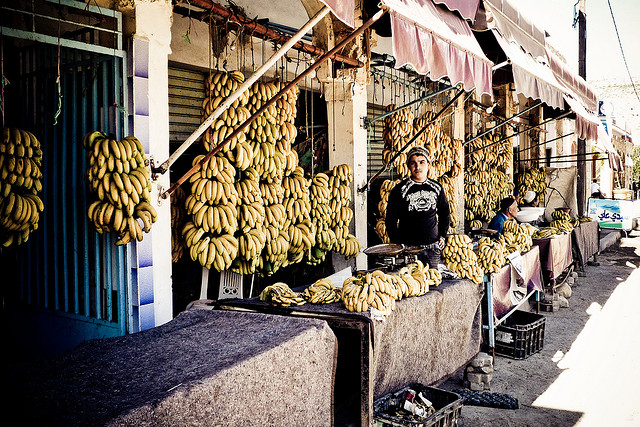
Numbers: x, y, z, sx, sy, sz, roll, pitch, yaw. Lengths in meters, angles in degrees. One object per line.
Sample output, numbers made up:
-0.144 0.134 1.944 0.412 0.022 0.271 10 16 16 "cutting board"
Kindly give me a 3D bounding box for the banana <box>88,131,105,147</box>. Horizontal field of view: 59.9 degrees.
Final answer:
-2.050 -0.679 5.113 0.141 0.138 0.040 -3 5 -31 "banana"

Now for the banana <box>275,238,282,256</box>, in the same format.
-0.451 0.372 6.194 0.070 0.141 0.033 2 -2 -35 "banana"

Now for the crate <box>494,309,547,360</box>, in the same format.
2.673 1.628 7.535 0.574 0.477 0.892 1 2 42 "crate"

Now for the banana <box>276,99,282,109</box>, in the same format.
-0.454 -1.242 6.287 0.072 0.093 0.033 -2 5 -20 "banana"

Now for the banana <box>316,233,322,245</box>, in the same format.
0.001 0.319 6.794 0.047 0.115 0.034 1 6 -6 "banana"

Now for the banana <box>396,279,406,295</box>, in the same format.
0.823 0.723 5.531 0.028 0.124 0.092 -15 12 39 "banana"

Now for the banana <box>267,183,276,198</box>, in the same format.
-0.538 -0.254 6.315 0.090 0.146 0.060 0 4 1 "banana"

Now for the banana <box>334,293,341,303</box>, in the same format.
0.178 0.824 5.386 0.022 0.049 0.092 -47 7 38 "banana"

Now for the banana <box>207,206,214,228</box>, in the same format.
-1.121 0.045 5.733 0.049 0.206 0.064 -4 -18 -7 "banana"

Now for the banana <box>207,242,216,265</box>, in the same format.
-1.107 0.409 5.726 0.058 0.235 0.071 4 -13 5 "banana"

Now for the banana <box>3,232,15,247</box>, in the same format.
-3.017 0.248 5.401 0.099 0.134 0.151 -3 6 -31 "banana"

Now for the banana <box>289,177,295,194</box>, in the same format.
-0.318 -0.323 6.476 0.047 0.189 0.047 -4 -9 -5 "banana"

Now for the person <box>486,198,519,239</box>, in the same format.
2.933 0.086 8.903 0.257 0.961 0.382 0 15 -7 "person"

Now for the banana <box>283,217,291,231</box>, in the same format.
-0.375 0.127 6.439 0.044 0.144 0.127 1 5 18 "banana"

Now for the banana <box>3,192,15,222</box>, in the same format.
-2.891 -0.080 5.185 0.054 0.375 0.090 10 5 -8 "banana"

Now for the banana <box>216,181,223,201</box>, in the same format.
-1.042 -0.232 5.805 0.067 0.201 0.041 -1 4 -14 "banana"

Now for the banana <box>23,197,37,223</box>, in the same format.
-2.740 -0.041 5.312 0.054 0.208 0.149 4 7 -36 "banana"

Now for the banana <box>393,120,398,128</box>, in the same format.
1.103 -1.300 8.055 0.044 0.089 0.025 21 -1 30 "banana"

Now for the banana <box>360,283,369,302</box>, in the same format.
0.421 0.736 5.168 0.042 0.188 0.054 15 -31 12 "banana"

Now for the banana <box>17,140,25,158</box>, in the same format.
-2.794 -0.598 5.212 0.046 0.164 0.056 -9 -9 43 "banana"

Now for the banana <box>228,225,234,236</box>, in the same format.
-0.925 0.178 5.847 0.036 0.116 0.074 3 6 36 "banana"

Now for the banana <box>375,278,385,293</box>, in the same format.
0.583 0.686 5.292 0.067 0.120 0.109 -2 5 -27 "banana"

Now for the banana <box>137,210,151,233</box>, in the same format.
-1.639 0.071 5.197 0.110 0.206 0.062 -3 5 -32 "banana"

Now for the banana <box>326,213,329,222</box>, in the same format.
0.100 0.048 6.788 0.034 0.062 0.012 2 1 -43 "banana"

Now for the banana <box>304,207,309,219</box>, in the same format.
-0.154 -0.003 6.587 0.041 0.139 0.096 2 5 19 "banana"

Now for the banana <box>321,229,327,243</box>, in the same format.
0.060 0.285 6.830 0.078 0.157 0.040 -1 4 -14 "banana"

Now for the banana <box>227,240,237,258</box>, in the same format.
-0.910 0.378 5.814 0.028 0.158 0.040 -27 -13 31 "banana"

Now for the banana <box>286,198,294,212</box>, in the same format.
-0.340 -0.104 6.505 0.092 0.145 0.049 -3 6 -37 "banana"

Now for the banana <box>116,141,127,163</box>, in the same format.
-1.803 -0.556 5.082 0.056 0.243 0.072 -9 -4 -24 "banana"

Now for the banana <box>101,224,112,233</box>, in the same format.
-2.012 0.141 5.242 0.082 0.076 0.136 -2 6 -23 "banana"

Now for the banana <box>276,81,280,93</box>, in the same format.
-0.469 -1.449 6.300 0.044 0.094 0.035 -1 5 -18 "banana"

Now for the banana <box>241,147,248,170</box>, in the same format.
-0.801 -0.572 5.974 0.042 0.183 0.091 7 3 37 "banana"

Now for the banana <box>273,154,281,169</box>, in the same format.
-0.477 -0.587 6.304 0.038 0.164 0.041 -18 -11 0 "banana"

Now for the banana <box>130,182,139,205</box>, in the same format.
-1.677 -0.177 5.092 0.047 0.178 0.043 -6 9 43 "banana"

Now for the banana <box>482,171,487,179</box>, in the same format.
3.210 -0.737 10.726 0.024 0.147 0.152 3 6 35 "banana"

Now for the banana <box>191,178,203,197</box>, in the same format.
-1.268 -0.281 5.765 0.067 0.222 0.053 18 4 -43 "banana"

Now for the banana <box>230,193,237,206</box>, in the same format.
-0.908 -0.148 5.882 0.030 0.103 0.052 -5 29 40 "banana"

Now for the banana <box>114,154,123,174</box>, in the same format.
-1.819 -0.442 5.072 0.044 0.184 0.055 -16 3 -14 "banana"

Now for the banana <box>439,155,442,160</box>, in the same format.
1.986 -0.917 9.099 0.030 0.072 0.082 3 6 33 "banana"

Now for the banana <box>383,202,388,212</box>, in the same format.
0.971 -0.108 8.179 0.027 0.114 0.032 25 -15 -13 "banana"

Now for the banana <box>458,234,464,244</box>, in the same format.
1.682 0.300 6.574 0.057 0.061 0.210 -10 15 8 "banana"

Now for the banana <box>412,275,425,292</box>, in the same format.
1.048 0.709 5.743 0.099 0.042 0.201 -33 36 13 "banana"

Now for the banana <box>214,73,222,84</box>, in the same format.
-1.083 -1.440 5.956 0.081 0.106 0.026 -1 5 -15 "banana"

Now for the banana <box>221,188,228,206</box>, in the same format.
-0.992 -0.171 5.823 0.038 0.168 0.056 7 16 27 "banana"

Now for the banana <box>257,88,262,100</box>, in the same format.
-0.656 -1.310 6.128 0.051 0.109 0.008 -2 5 -24 "banana"

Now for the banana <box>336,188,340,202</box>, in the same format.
0.239 -0.215 7.037 0.032 0.138 0.032 1 -6 -25 "banana"

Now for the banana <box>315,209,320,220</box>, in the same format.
-0.021 0.015 6.693 0.055 0.094 0.021 -8 7 -31 "banana"

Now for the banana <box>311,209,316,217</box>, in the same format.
-0.076 0.000 6.685 0.040 0.087 0.025 -6 0 32 "banana"

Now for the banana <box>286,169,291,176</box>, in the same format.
-0.366 -0.483 6.547 0.036 0.071 0.020 2 10 1 "banana"

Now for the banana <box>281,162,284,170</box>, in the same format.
-0.422 -0.545 6.364 0.019 0.072 0.060 2 5 26 "banana"
